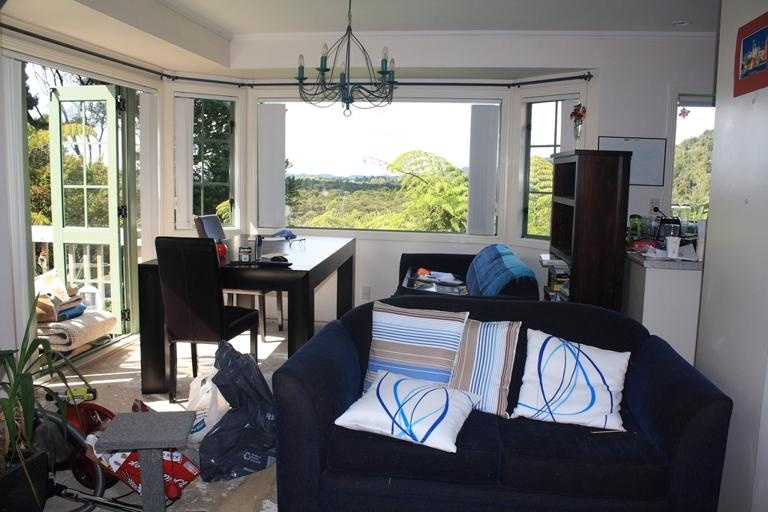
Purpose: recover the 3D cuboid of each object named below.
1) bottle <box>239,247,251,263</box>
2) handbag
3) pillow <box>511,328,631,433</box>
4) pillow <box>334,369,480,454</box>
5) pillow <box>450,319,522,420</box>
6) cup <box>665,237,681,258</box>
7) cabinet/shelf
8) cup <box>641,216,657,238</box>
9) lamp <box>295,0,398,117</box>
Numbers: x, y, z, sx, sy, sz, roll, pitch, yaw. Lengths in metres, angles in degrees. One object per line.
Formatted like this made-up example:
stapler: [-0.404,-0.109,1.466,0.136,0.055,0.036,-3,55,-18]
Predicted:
bottle: [-1.116,-0.007,4.515,0.098,0.161,0.129,0,-4,-9]
handbag: [-1.017,1.132,4.130,0.662,1.042,0.905,5,-20,-25]
pillow: [1.064,0.705,3.152,0.547,0.506,0.164,8,-13,4]
pillow: [0.171,0.950,3.320,0.639,0.243,0.799,9,6,20]
pillow: [0.597,0.657,3.323,0.491,0.494,0.115,16,-7,18]
cup: [2.166,-0.059,4.209,0.136,0.203,0.125,0,1,0]
cabinet/shelf: [1.764,-0.067,4.975,0.491,1.660,1.021,1,9,8]
cup: [2.302,-0.241,4.893,0.121,0.163,0.314,2,8,25]
lamp: [-0.347,-1.773,5.337,0.870,1.003,2.475,-2,7,-6]
